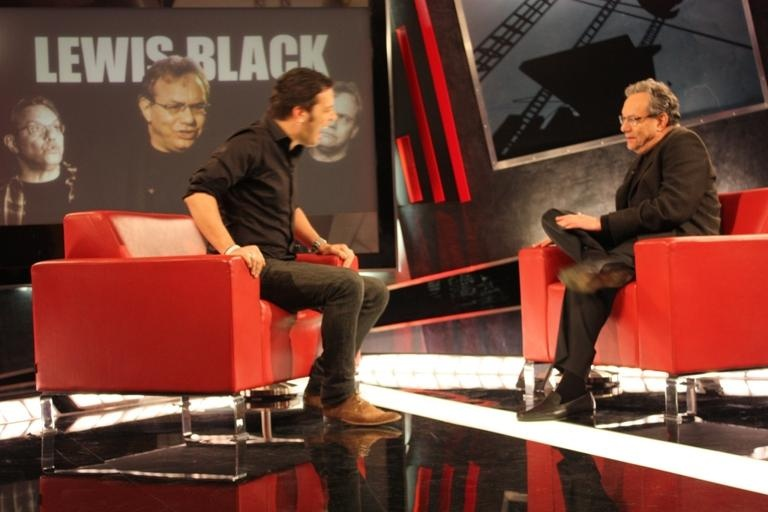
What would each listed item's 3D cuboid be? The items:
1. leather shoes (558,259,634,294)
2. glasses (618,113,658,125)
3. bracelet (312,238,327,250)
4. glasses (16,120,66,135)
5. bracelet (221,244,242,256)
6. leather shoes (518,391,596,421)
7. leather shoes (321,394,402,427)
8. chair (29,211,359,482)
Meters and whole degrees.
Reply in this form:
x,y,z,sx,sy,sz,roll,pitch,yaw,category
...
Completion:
x,y,z,sx,sy,sz,roll,pitch,yaw,category
1.031,0.094,3.769,0.411,0.131,0.171,-2,11,7,leather shoes
1.331,-0.704,4.009,0.132,0.035,0.125,-2,3,-20,glasses
-0.339,-0.072,4.208,0.076,0.051,0.074,11,-34,-46,bracelet
-2.215,-0.827,5.022,0.292,0.079,0.052,-1,10,4,glasses
-0.692,-0.028,3.519,0.061,0.034,0.044,-4,-1,-27,bracelet
0.837,0.732,3.813,0.401,0.137,0.144,-2,-7,-17,leather shoes
-0.115,0.728,3.732,0.417,0.169,0.146,1,-3,1,leather shoes
-0.854,0.413,4.127,1.171,1.273,1.518,-4,-4,14,chair
